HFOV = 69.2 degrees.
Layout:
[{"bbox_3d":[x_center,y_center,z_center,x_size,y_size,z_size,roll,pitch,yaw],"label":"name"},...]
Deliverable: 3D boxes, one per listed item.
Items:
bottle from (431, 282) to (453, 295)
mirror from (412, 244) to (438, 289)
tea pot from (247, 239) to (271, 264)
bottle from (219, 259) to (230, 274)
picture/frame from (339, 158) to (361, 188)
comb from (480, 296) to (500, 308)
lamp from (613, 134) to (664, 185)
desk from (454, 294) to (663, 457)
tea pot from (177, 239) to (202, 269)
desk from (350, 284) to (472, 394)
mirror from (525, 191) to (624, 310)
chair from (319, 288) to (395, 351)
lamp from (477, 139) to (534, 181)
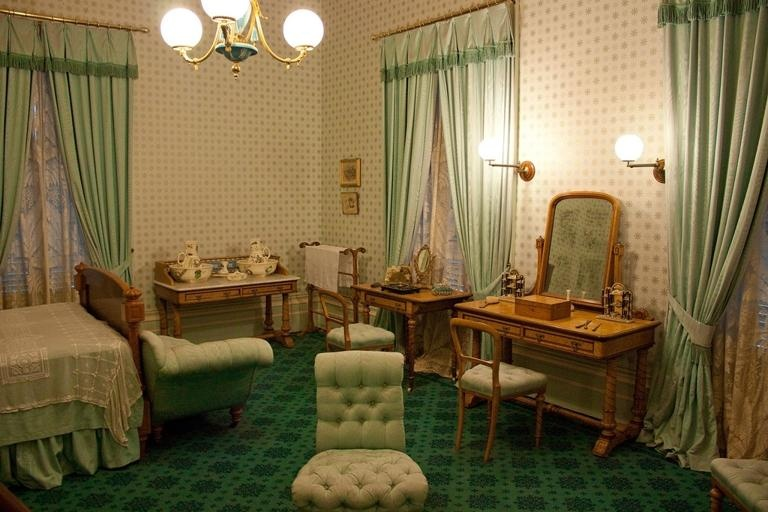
[{"bbox_3d":[0.673,0.364,6.322,0.189,0.105,0.192,0,12,0],"label":"bottle"},{"bbox_3d":[0.484,0.118,6.617,0.230,0.476,0.192,0,12,2],"label":"mirror"},{"bbox_3d":[-1.697,-0.063,7.667,0.346,0.340,0.240,2,-3,-40],"label":"tea pot"},{"bbox_3d":[-2.160,0.150,7.598,0.166,0.273,0.168,0,3,0],"label":"bottle"},{"bbox_3d":[-0.455,-1.173,7.825,0.032,0.372,0.389,-6,11,-39],"label":"picture/frame"},{"bbox_3d":[1.076,0.470,5.722,0.107,0.046,0.170,3,7,32],"label":"comb"},{"bbox_3d":[2.351,-0.894,5.115,0.432,0.442,0.262,5,13,23],"label":"lamp"},{"bbox_3d":[1.668,1.076,5.674,0.967,1.151,1.830,-9,8,-36],"label":"desk"},{"bbox_3d":[-2.549,-0.029,7.118,0.415,0.434,0.264,1,3,-27],"label":"tea pot"},{"bbox_3d":[0.337,0.558,6.574,1.012,1.266,1.692,-1,3,-31],"label":"desk"},{"bbox_3d":[1.905,-0.053,5.465,0.151,1.484,1.080,1,3,-41],"label":"mirror"},{"bbox_3d":[-0.283,0.746,6.622,0.779,1.076,0.699,-5,9,-30],"label":"chair"},{"bbox_3d":[1.330,-1.009,5.968,0.796,0.489,0.284,0,-1,-37],"label":"lamp"}]
